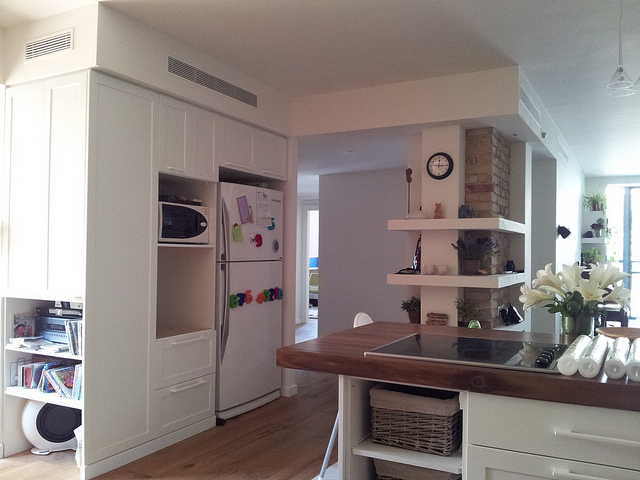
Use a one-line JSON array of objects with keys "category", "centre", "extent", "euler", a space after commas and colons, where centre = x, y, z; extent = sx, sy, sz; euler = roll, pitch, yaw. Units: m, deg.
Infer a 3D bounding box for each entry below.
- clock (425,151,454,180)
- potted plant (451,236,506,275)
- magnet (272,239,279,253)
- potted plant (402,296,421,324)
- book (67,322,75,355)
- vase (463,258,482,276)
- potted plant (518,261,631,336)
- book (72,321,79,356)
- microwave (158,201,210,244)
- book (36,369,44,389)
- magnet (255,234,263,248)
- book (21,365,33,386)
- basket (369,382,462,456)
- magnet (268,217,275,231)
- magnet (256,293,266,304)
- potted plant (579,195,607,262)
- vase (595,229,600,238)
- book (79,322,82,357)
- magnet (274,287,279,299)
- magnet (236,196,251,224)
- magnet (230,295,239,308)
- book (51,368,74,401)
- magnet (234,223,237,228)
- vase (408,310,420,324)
[{"category": "clock", "centre": [1.177, -0.734, 4.715], "extent": [0.239, 0.245, 0.035], "euler": [14, 6, 34]}, {"category": "potted plant", "centre": [1.455, 0.165, 4.610], "extent": [0.431, 0.315, 0.385], "euler": [1, 2, -29]}, {"category": "magnet", "centre": [-0.457, 0.055, 4.890], "extent": [0.020, 0.134, 0.112], "euler": [1, 2, 22]}, {"category": "potted plant", "centre": [0.999, 0.741, 5.092], "extent": [0.222, 0.302, 0.229], "euler": [-1, 1, 25]}, {"category": "book", "centre": [-1.776, 0.691, 3.433], "extent": [0.042, 0.172, 0.184], "euler": [-1, -1, -16]}, {"category": "vase", "centre": [1.440, 0.246, 4.564], "extent": [0.151, 0.157, 0.208], "euler": [1, 2, 16]}, {"category": "potted plant", "centre": [1.316, 0.311, 2.536], "extent": [0.479, 0.409, 0.201], "euler": [2, 2, 25]}, {"category": "book", "centre": [-1.738, 0.694, 3.426], "extent": [0.063, 0.239, 0.013], "euler": [2, 2, 27]}, {"category": "microwave", "centre": [-1.244, -0.138, 4.116], "extent": [0.323, 0.338, 0.539], "euler": [0, -1, 30]}, {"category": "book", "centre": [-2.114, 1.047, 3.637], "extent": [0.038, 0.137, 0.120], "euler": [-1, 2, -31]}, {"category": "magnet", "centre": [-0.576, -0.004, 4.644], "extent": [0.021, 0.102, 0.103], "euler": [-2, -21, 24]}, {"category": "book", "centre": [-2.238, 1.036, 3.676], "extent": [0.023, 0.163, 0.140], "euler": [-1, -3, 14]}, {"category": "basket", "centre": [0.494, 0.919, 2.512], "extent": [0.446, 0.271, 0.312], "euler": [0, -10, 31]}, {"category": "magnet", "centre": [-0.484, -0.162, 4.817], "extent": [0.073, 0.095, 0.023], "euler": [-2, 1, -26]}, {"category": "magnet", "centre": [-0.583, 0.563, 4.674], "extent": [0.024, 0.103, 0.102], "euler": [2, 2, 34]}, {"category": "potted plant", "centre": [5.216, -0.239, 9.184], "extent": [0.446, 1.278, 0.861], "euler": [2, 2, 30]}, {"category": "vase", "centre": [5.207, -0.135, 9.069], "extent": [0.036, 0.132, 0.091], "euler": [8, -5, -42]}, {"category": "book", "centre": [-1.687, 0.699, 3.393], "extent": [0.015, 0.235, 0.073], "euler": [-1, 2, -34]}, {"category": "magnet", "centre": [-0.447, 0.532, 4.875], "extent": [0.049, 0.095, 0.019], "euler": [4, -2, -28]}, {"category": "magnet", "centre": [-0.716, -0.286, 4.505], "extent": [0.033, 0.258, 0.173], "euler": [2, 2, 27]}, {"category": "magnet", "centre": [-0.782, 0.551, 4.371], "extent": [0.024, 0.120, 0.093], "euler": [2, 3, 39]}, {"category": "book", "centre": [-1.869, 1.049, 3.519], "extent": [0.042, 0.179, 0.178], "euler": [-15, 0, -12]}, {"category": "magnet", "centre": [-0.778, -0.135, 4.406], "extent": [0.010, 0.042, 0.045], "euler": [3, 1, 36]}, {"category": "vase", "centre": [0.963, 0.785, 4.974], "extent": [0.114, 0.123, 0.143], "euler": [1, 2, 8]}]
